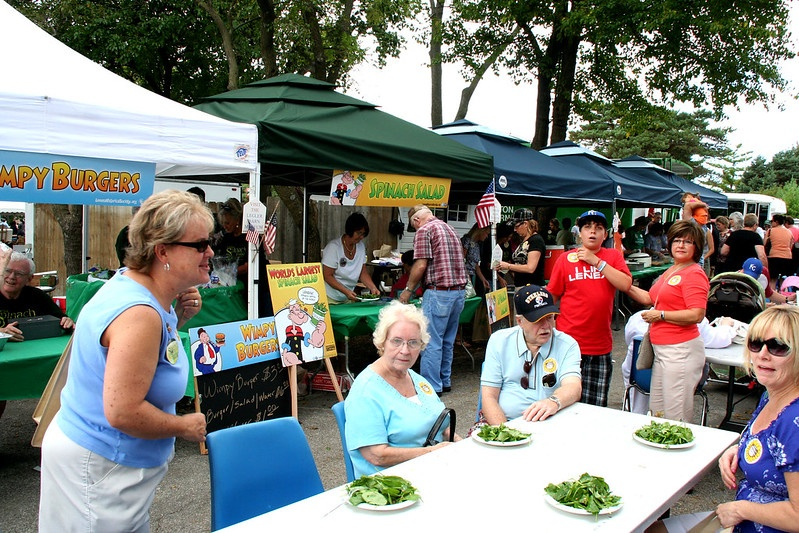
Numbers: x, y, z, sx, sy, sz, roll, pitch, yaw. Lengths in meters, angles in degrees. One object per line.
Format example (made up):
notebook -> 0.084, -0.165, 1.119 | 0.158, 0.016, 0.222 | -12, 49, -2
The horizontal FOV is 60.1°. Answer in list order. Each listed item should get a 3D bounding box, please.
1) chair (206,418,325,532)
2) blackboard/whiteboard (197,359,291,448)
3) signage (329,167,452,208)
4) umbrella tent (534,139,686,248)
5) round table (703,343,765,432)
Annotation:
chair -> -0.971, 1.509, 4.905 | 1.091, 0.713, 0.550 | -3, -12, -30
blackboard/whiteboard -> -1.484, 1.259, 6.387 | 0.033, 0.669, 0.963 | -5, 1, 44
signage -> -0.071, -0.897, 8.206 | 1.782, 0.410, 0.008 | -2, 21, -41
umbrella tent -> 4.074, -1.518, 13.144 | 2.204, 1.020, 2.254 | 4, 6, 13
round table -> 3.471, 1.291, 7.176 | 0.695, 0.630, 1.313 | 0, 2, 33
